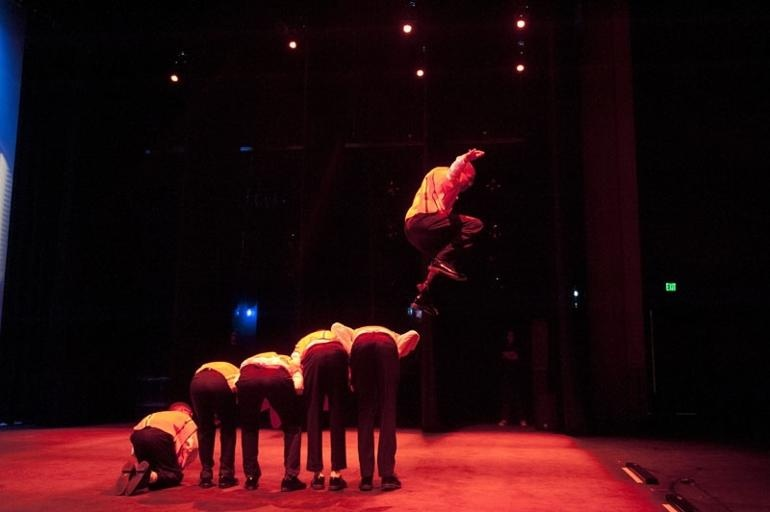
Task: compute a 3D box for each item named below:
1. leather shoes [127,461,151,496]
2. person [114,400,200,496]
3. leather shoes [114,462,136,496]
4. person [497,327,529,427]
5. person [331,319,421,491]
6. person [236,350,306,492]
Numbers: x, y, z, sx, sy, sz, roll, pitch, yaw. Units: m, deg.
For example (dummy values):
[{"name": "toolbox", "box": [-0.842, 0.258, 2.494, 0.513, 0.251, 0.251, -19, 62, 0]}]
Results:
[{"name": "leather shoes", "box": [-3.204, 2.865, 8.364, 0.225, 0.381, 0.263, 0, 2, 18]}, {"name": "person", "box": [-3.110, 2.626, 8.874, 0.865, 0.736, 1.945, 4, 10, 1]}, {"name": "leather shoes", "box": [-3.336, 2.879, 8.366, 0.205, 0.416, 0.071, 3, -24, 21]}, {"name": "person", "box": [2.341, 2.179, 11.697, 0.497, 1.662, 0.539, 0, 2, 10]}, {"name": "person", "box": [-0.108, 1.999, 8.641, 1.054, 2.133, 0.543, 0, 2, 0]}, {"name": "person", "box": [-1.527, 2.191, 8.619, 0.892, 1.759, 0.472, -1, 3, -7]}]
